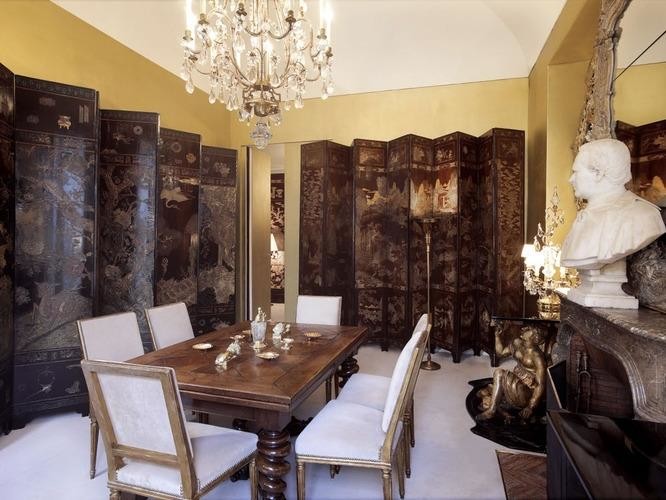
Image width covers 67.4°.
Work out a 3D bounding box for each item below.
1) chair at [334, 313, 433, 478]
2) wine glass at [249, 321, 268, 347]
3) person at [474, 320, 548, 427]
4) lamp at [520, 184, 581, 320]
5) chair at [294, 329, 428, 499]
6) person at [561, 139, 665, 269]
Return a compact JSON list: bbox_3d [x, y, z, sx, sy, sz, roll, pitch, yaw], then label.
[{"bbox_3d":[0.477,1.212,4.827,1.037,1.930,1.013,2,-3,12],"label":"chair"},{"bbox_3d":[-0.619,0.693,4.216,0.175,0.218,0.179,-1,4,-42],"label":"wine glass"},{"bbox_3d":[1.805,1.134,5.069,0.746,1.197,0.737,3,5,9],"label":"person"},{"bbox_3d":[2.194,0.181,5.146,0.518,1.134,0.509,-2,-9,37],"label":"lamp"},{"bbox_3d":[0.221,1.226,3.625,0.948,1.273,0.735,0,9,-1],"label":"chair"},{"bbox_3d":[2.113,-0.309,3.972,0.678,1.297,1.319,4,8,27],"label":"person"}]
